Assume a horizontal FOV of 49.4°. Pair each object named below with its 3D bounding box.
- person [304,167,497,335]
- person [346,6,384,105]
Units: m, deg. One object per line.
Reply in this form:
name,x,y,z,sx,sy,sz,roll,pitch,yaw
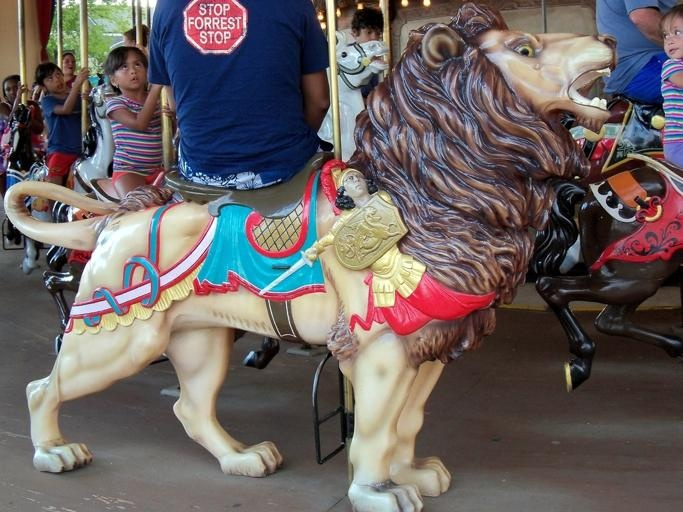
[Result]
person,0.220,-0.011,2.553,0.769,0.631,0.268,2,4,35
person,0.225,-1.668,5.962,0.254,1.021,0.864,-3,-4,1
